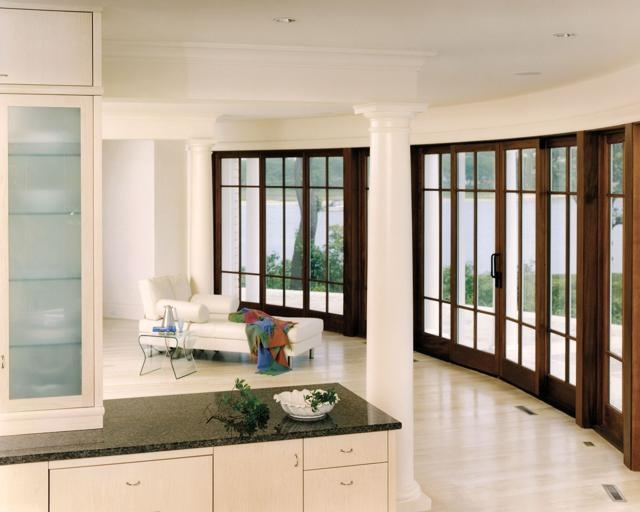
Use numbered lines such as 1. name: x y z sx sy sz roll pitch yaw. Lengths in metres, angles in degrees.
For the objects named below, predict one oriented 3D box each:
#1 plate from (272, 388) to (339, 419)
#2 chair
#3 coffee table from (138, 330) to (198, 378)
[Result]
1. plate: -0.065 0.895 3.474 0.228 0.070 0.229 0 4 -11
2. chair: -1.162 0.825 7.640 2.076 0.972 1.219 3 5 20
3. coffee table: -1.923 1.252 7.497 0.772 0.665 0.601 3 7 23
